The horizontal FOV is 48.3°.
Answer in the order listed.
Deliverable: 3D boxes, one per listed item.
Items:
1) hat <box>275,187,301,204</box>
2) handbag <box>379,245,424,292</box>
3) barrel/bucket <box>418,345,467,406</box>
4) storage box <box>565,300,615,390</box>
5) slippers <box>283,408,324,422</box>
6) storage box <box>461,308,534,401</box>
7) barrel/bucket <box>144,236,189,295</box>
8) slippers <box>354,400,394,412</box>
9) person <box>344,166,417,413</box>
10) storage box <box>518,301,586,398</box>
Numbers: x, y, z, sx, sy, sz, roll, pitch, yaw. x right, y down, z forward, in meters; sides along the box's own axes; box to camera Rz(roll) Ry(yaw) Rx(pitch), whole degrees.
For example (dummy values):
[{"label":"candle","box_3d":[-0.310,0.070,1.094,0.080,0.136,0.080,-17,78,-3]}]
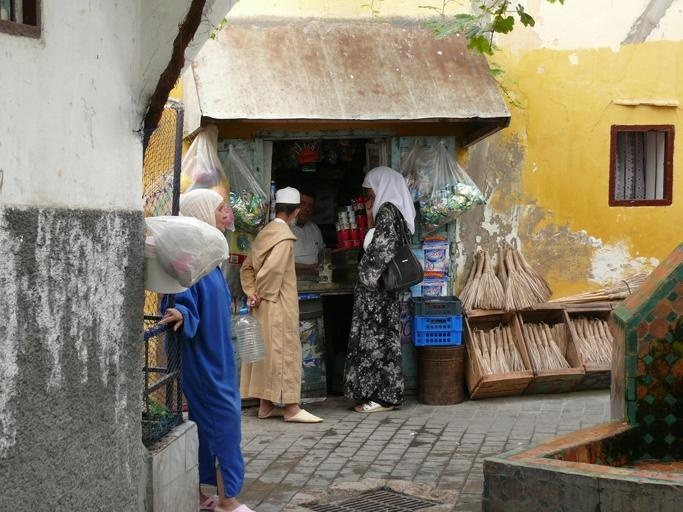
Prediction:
[{"label":"hat","box_3d":[-0.542,-0.612,7.660,0.312,0.192,0.454,1,4,0]},{"label":"handbag","box_3d":[0.575,0.128,7.603,0.436,0.613,0.215,-3,-1,-4]},{"label":"barrel/bucket","box_3d":[0.971,1.237,7.894,0.535,0.606,0.554,0,-4,0]},{"label":"storage box","box_3d":[2.727,1.001,8.313,0.271,0.838,0.611,27,-20,-17]},{"label":"slippers","box_3d":[-0.359,1.519,7.308,0.276,0.108,0.149,-2,-4,9]},{"label":"storage box","box_3d":[1.635,1.044,7.940,0.613,0.382,0.850,-4,44,-7]},{"label":"barrel/bucket","box_3d":[-0.946,0.062,4.096,0.249,0.247,0.254,1,7,0]},{"label":"slippers","box_3d":[0.328,1.488,7.664,0.356,0.162,0.148,3,-4,-7]},{"label":"person","box_3d":[0.377,0.324,7.708,0.706,2.459,0.464,-1,5,5]},{"label":"storage box","box_3d":[2.200,1.014,8.240,0.642,0.919,0.558,-5,-28,-1]}]
